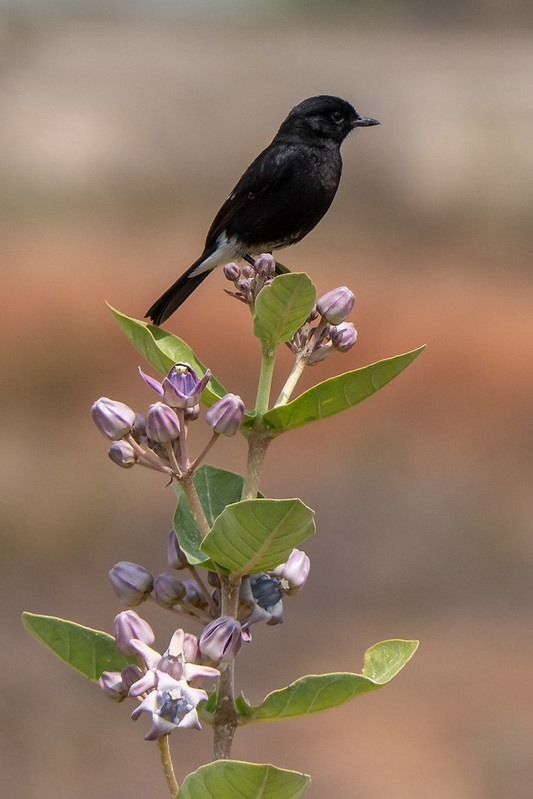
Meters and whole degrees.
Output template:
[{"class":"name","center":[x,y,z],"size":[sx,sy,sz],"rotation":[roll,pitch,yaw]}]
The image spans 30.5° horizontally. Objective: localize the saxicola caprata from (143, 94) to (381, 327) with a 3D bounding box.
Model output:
[{"class":"saxicola caprata","center":[-0.035,-0.643,3.300],"size":[0.891,0.627,0.340],"rotation":[-7,-11,29]}]
